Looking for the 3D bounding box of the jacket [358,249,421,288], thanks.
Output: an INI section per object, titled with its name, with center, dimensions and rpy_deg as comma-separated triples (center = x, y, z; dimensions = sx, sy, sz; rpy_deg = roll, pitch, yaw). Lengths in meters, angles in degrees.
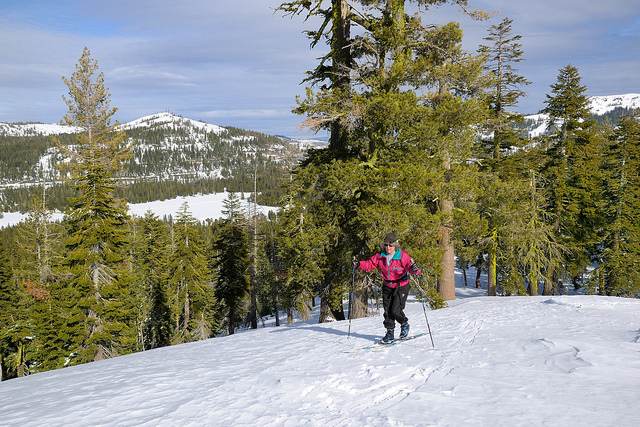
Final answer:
[jacket]
center = 4.696, 3.865, 45.663
dimensions = 3.834, 2.579, 2.135
rpy_deg = -2, -2, 18
